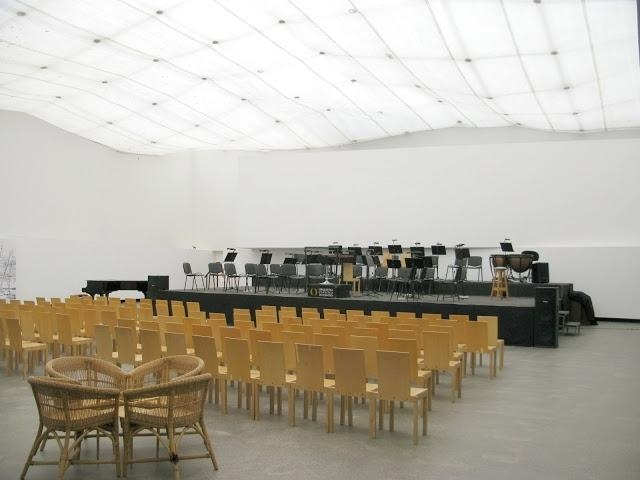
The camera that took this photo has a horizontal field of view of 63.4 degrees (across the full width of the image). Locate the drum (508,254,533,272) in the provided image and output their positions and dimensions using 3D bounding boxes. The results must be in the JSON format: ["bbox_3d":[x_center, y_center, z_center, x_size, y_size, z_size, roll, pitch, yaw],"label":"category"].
[{"bbox_3d":[4.962,0.581,12.862,0.508,0.382,0.516,-1,-4,0],"label":"drum"}]

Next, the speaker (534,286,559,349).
[{"bbox_3d":[4.661,1.500,10.637,0.508,1.209,0.506,-3,9,9],"label":"speaker"}]

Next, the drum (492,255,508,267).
[{"bbox_3d":[4.414,0.521,12.633,0.365,0.302,0.381,-4,-3,0],"label":"drum"}]

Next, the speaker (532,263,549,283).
[{"bbox_3d":[5.814,0.872,13.770,0.452,0.560,0.456,-6,-3,34],"label":"speaker"}]

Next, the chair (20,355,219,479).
[{"bbox_3d":[-1.890,1.659,4.939,1.639,1.114,0.963,-4,-3,-13],"label":"chair"}]
